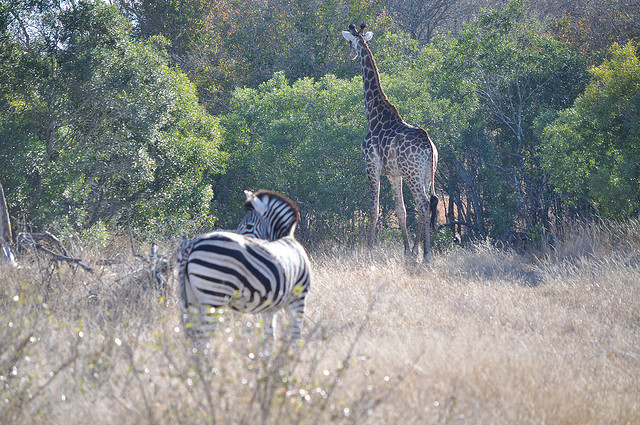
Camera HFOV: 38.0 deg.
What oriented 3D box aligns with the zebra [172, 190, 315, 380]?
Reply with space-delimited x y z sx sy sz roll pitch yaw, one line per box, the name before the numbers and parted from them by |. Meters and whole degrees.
zebra | -1.516 1.355 17.998 2.666 3.581 1.841 -1 -2 -12
